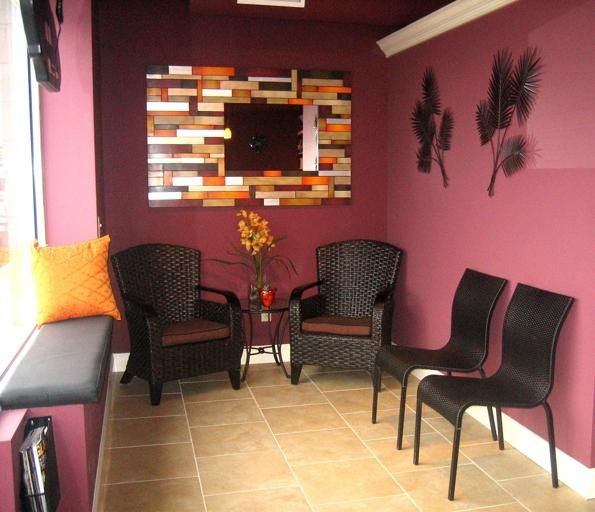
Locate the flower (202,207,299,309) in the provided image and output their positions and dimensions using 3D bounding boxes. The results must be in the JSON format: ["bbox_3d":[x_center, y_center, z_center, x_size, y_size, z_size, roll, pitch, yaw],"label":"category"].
[{"bbox_3d":[-0.365,0.065,4.542,0.634,0.584,0.445,-10,-7,41],"label":"flower"}]

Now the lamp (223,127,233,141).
[{"bbox_3d":[-0.604,-1.067,4.455,0.093,0.128,0.095,3,3,-3],"label":"lamp"}]

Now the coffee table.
[{"bbox_3d":[-0.311,0.713,4.463,0.504,0.591,0.525,1,4,-13],"label":"coffee table"}]

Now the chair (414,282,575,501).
[{"bbox_3d":[1.021,0.707,2.758,0.747,0.995,0.656,-2,4,5],"label":"chair"}]

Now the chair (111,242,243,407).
[{"bbox_3d":[-0.958,0.472,4.030,0.788,1.104,0.782,-4,4,-40],"label":"chair"}]

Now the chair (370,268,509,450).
[{"bbox_3d":[0.879,0.639,3.280,0.687,1.028,0.564,-3,5,-10],"label":"chair"}]

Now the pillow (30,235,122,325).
[{"bbox_3d":[-1.359,0.143,3.094,0.560,0.616,0.229,-6,-17,-38],"label":"pillow"}]

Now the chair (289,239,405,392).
[{"bbox_3d":[0.415,0.442,4.178,0.859,1.097,0.853,3,3,40],"label":"chair"}]
